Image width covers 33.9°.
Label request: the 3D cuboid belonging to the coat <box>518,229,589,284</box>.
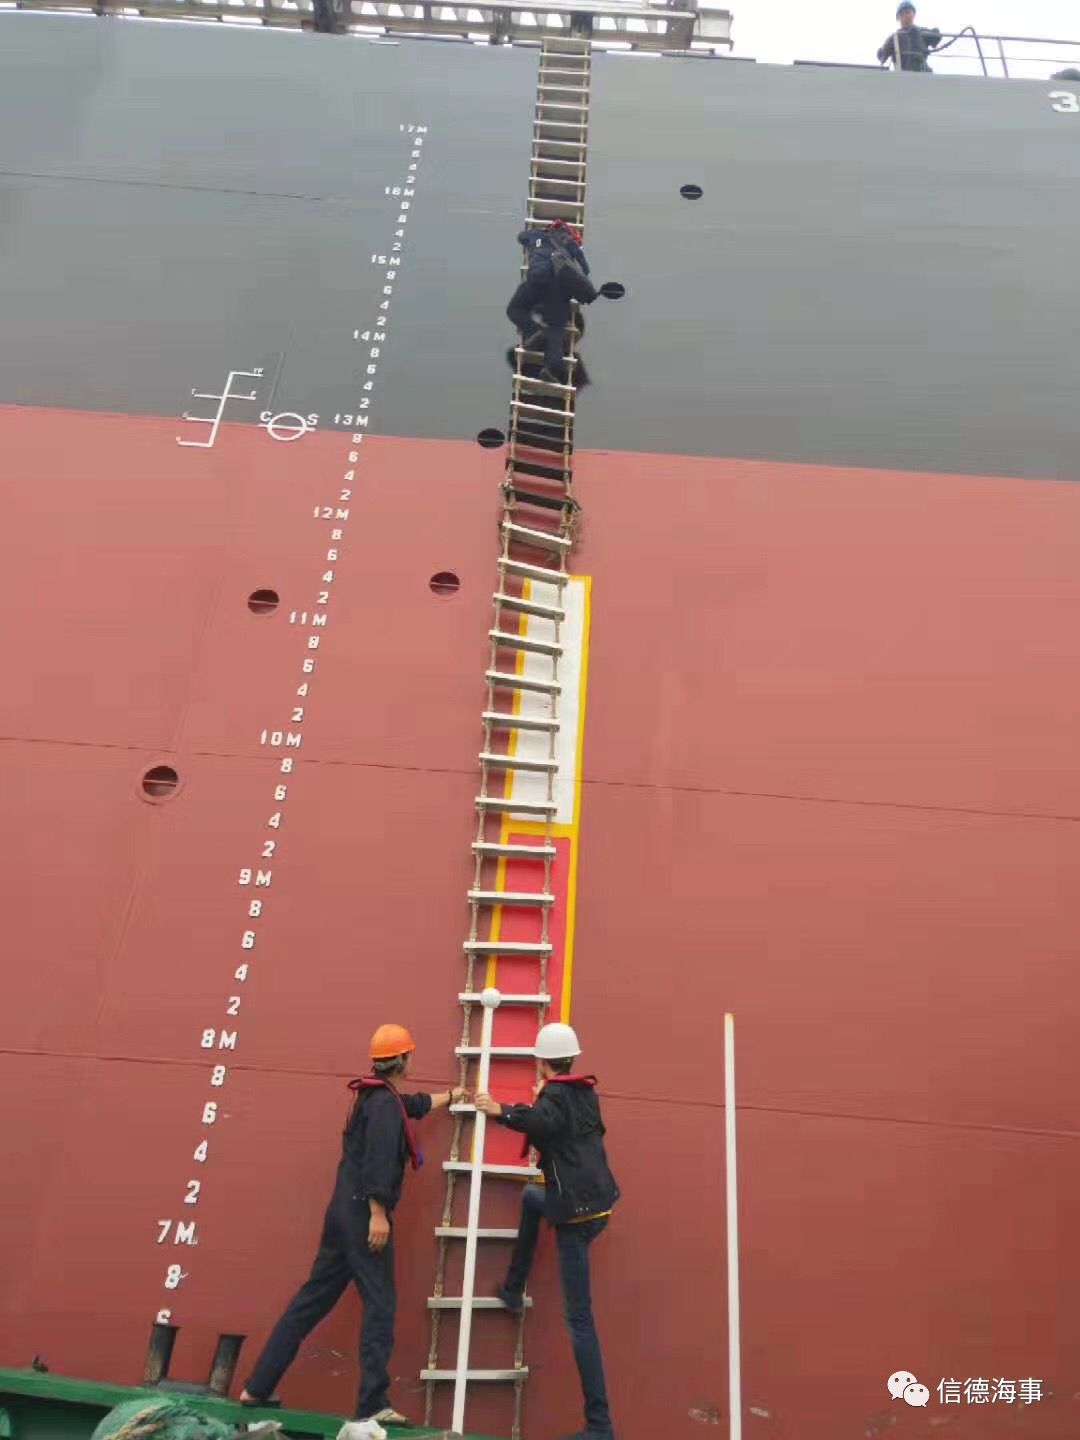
[{"bbox_3d":[0.081,-3.190,12.006,0.478,0.419,0.197,-2,-25,2],"label":"coat"}]

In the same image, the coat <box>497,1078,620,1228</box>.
[{"bbox_3d":[0.077,2.281,9.254,0.361,0.450,0.853,-22,-39,18],"label":"coat"}]

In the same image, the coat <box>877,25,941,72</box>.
[{"bbox_3d":[3.019,-5.526,14.642,0.448,0.461,0.944,5,12,7],"label":"coat"}]

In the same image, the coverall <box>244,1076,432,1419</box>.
[{"bbox_3d":[-0.950,2.641,8.886,0.715,1.499,0.954,8,15,14],"label":"coverall"}]

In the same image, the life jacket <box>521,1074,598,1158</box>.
[{"bbox_3d":[0.102,2.034,9.111,0.233,0.210,0.614,-24,-15,37],"label":"life jacket"}]

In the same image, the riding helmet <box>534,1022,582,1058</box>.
[{"bbox_3d":[0.077,1.701,9.479,0.223,0.112,0.234,0,2,-2],"label":"riding helmet"}]

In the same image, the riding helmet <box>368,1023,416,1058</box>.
[{"bbox_3d":[-0.801,1.684,9.382,0.221,0.108,0.236,-9,-7,-8],"label":"riding helmet"}]

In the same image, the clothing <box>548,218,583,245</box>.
[{"bbox_3d":[0.161,-3.355,12.149,0.204,0.079,0.243,8,18,-25],"label":"clothing"}]
